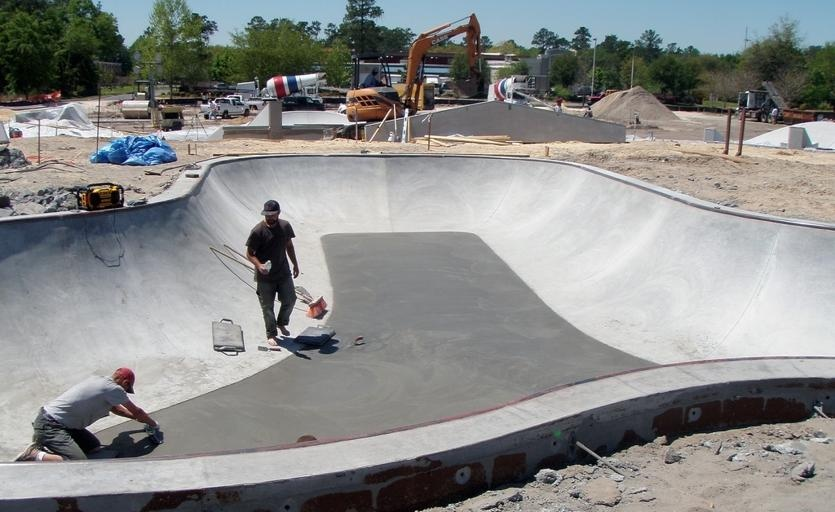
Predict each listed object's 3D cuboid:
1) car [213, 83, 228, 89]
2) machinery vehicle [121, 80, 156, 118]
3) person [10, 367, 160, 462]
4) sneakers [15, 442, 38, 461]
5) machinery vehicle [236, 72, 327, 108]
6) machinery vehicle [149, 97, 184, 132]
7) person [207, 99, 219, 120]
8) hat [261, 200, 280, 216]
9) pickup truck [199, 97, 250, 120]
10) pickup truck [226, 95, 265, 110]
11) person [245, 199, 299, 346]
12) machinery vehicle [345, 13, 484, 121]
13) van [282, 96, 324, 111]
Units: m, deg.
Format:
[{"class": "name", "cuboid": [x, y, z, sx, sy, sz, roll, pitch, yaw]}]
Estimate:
[{"class": "car", "cuboid": [-19.402, -16.889, 66.873, 0.919, 0.747, 8.983, -4, 13, -17]}, {"class": "machinery vehicle", "cuboid": [-15.779, -8.916, 38.303, 1.520, 1.560, 1.777, -4, 25, -15]}, {"class": "person", "cuboid": [-4.387, 2.127, 9.032, 0.922, 1.038, 2.068, 10, 4, 37]}, {"class": "sneakers", "cuboid": [-4.978, 2.512, 8.642, 0.136, 0.110, 0.324, -32, 15, 10]}, {"class": "machinery vehicle", "cuboid": [-8.519, -10.376, 42.002, 5.457, 1.763, 1.477, -14, 41, -10]}, {"class": "machinery vehicle", "cuboid": [-11.625, -6.665, 32.019, 1.701, 1.651, 2.918, -5, 11, -28]}, {"class": "person", "cuboid": [-12.409, -8.900, 41.277, 0.629, 1.023, 1.420, -4, 14, -16]}, {"class": "hat", "cuboid": [-2.350, -0.777, 10.823, 0.290, 0.197, 0.366, 5, 17, 1]}, {"class": "pickup truck", "cuboid": [-11.978, -9.266, 42.322, 1.535, 0.922, 2.893, 12, 18, 33]}, {"class": "pickup truck", "cuboid": [-11.345, -10.089, 45.166, 2.486, 0.954, 1.358, 14, 25, 12]}, {"class": "person", "cuboid": [-2.318, 0.282, 10.991, 0.413, 2.378, 0.703, 14, 21, 42]}, {"class": "machinery vehicle", "cuboid": [-0.079, -8.355, 29.944, 6.372, 3.692, 1.431, -13, 37, -16]}, {"class": "van", "cuboid": [-6.896, -9.081, 40.266, 2.463, 0.871, 1.165, -5, 18, -16]}]
